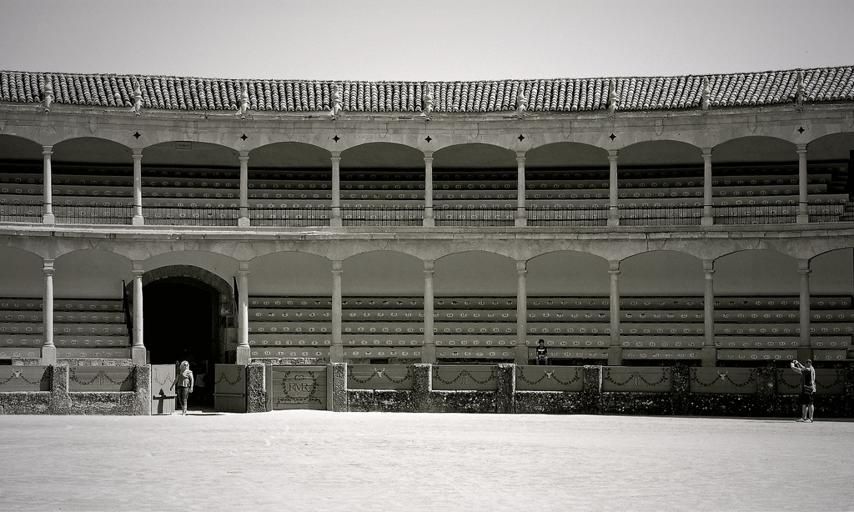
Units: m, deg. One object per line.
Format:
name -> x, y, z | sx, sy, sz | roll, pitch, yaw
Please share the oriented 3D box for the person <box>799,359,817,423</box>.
person -> 16.712, 5.842, 76.971 | 0.609, 2.687, 0.966 | -1, -11, 11
